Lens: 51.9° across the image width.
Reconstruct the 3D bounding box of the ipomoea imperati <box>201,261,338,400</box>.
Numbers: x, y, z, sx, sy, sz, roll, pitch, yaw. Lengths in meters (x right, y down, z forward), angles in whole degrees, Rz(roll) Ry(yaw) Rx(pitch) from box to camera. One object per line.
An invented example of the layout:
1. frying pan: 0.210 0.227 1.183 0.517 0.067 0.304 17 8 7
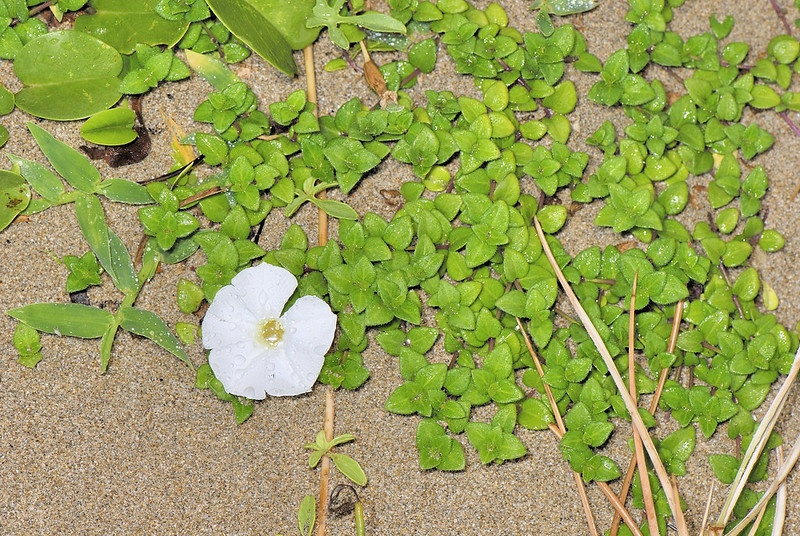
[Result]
1. ipomoea imperati: -0.361 0.180 2.257 0.357 0.242 0.254 10 46 -5
